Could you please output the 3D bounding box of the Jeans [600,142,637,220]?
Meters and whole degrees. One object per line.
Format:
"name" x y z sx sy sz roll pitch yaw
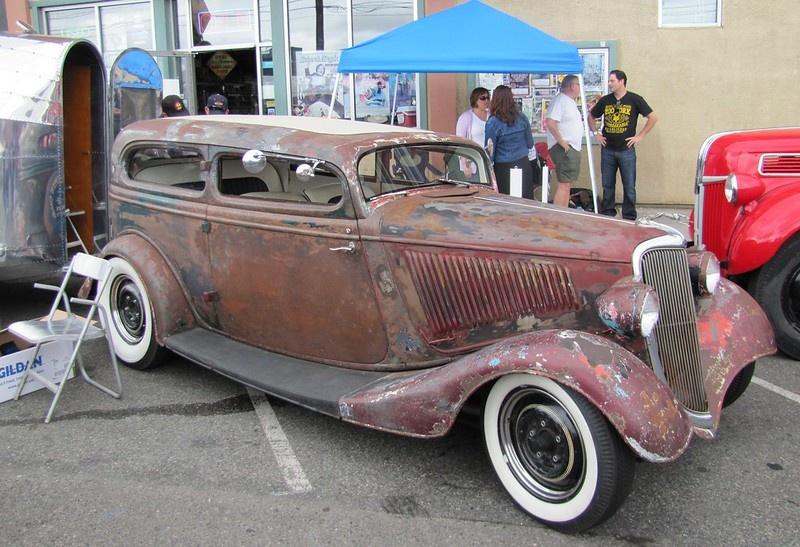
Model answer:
"Jeans" 3.539 -1.481 9.911 0.569 1.387 0.391 11 37 32

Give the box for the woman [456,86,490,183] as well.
"woman" 1.275 -2.045 9.534 0.631 1.744 0.543 -1 47 10

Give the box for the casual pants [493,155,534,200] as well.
"casual pants" 1.653 -1.335 8.506 0.639 0.682 1.183 2 4 10

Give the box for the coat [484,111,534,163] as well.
"coat" 1.504 -1.891 8.460 0.771 0.662 0.398 -14 7 -18

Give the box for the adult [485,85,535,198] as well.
"adult" 1.558 -1.773 8.744 0.664 2.092 0.659 -18 51 -1

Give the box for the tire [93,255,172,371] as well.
"tire" -2.358 0.327 5.481 0.821 0.989 0.301 11 15 42

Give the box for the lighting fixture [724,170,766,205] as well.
"lighting fixture" 3.297 -0.809 5.898 0.297 0.294 0.280 -2 23 12

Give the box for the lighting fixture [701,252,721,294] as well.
"lighting fixture" 2.374 0.005 4.698 0.137 0.355 0.291 0 5 35

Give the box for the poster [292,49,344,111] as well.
"poster" -1.448 -3.500 11.455 0.949 1.372 0.094 -1 -11 -7

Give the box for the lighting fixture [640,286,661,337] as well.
"lighting fixture" 1.626 0.252 3.986 0.072 0.312 0.187 7 14 35

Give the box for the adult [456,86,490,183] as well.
"adult" 1.262 -2.028 9.513 0.595 1.736 0.546 -3 44 8

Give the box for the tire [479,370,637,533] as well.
"tire" 1.016 1.079 4.045 0.318 1.166 1.003 -16 23 -36
